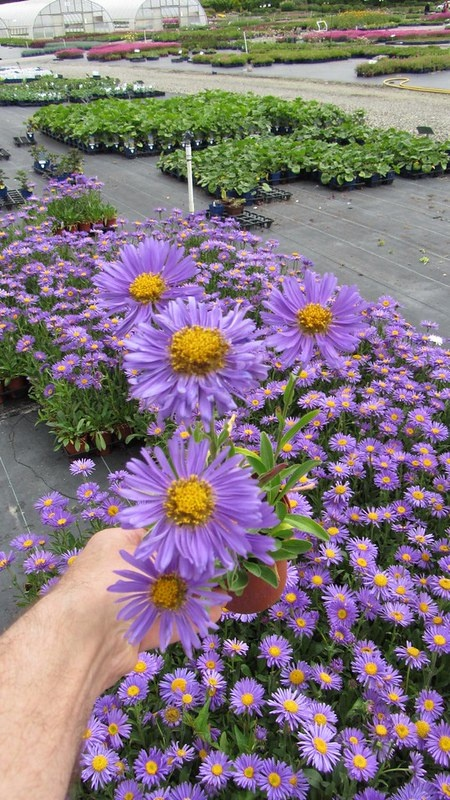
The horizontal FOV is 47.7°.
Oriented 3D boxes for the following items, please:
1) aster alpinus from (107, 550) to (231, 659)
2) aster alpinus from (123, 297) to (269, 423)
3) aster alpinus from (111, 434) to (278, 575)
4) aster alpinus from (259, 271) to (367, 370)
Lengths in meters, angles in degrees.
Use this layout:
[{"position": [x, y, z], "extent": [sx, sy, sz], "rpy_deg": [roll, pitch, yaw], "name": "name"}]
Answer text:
[{"position": [-0.069, 0.196, 0.581], "extent": [0.128, 0.141, 0.033], "rpy_deg": [0, -5, 9], "name": "aster alpinus"}, {"position": [-0.031, -0.044, 0.668], "extent": [0.180, 0.163, 0.241], "rpy_deg": [3, 23, 8], "name": "aster alpinus"}, {"position": [-0.029, 0.128, 0.564], "extent": [0.166, 0.154, 0.122], "rpy_deg": [2, 23, 6], "name": "aster alpinus"}, {"position": [0.140, -0.131, 0.805], "extent": [0.158, 0.147, 0.112], "rpy_deg": [2, 23, 6], "name": "aster alpinus"}]
